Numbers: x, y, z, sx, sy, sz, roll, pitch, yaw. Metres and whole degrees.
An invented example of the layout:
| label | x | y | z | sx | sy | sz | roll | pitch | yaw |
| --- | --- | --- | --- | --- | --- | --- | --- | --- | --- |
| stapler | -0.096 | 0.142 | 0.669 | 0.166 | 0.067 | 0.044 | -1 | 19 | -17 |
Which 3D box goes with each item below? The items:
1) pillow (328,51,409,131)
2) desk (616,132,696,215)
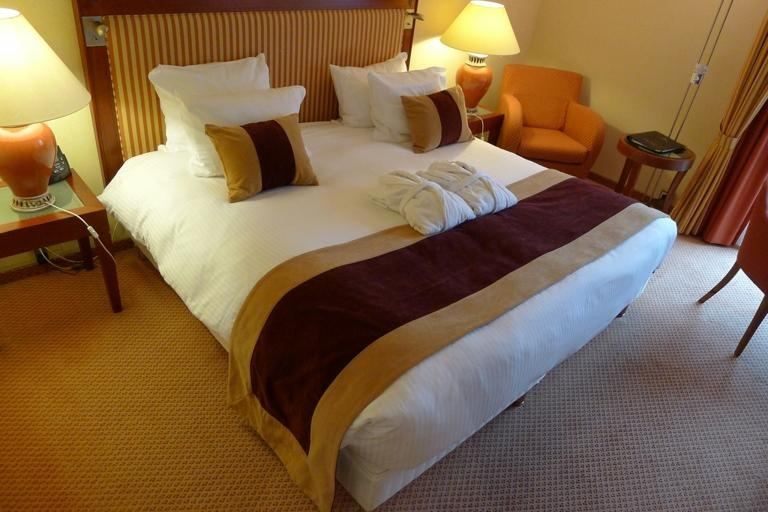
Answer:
| label | x | y | z | sx | sy | sz | roll | pitch | yaw |
| --- | --- | --- | --- | --- | --- | --- | --- | --- | --- |
| pillow | -0.143 | -1.244 | 4.171 | 0.537 | 0.401 | 0.188 | -23 | 36 | -33 |
| desk | 2.305 | -0.693 | 4.538 | 0.505 | 0.607 | 0.513 | -25 | 46 | -28 |
